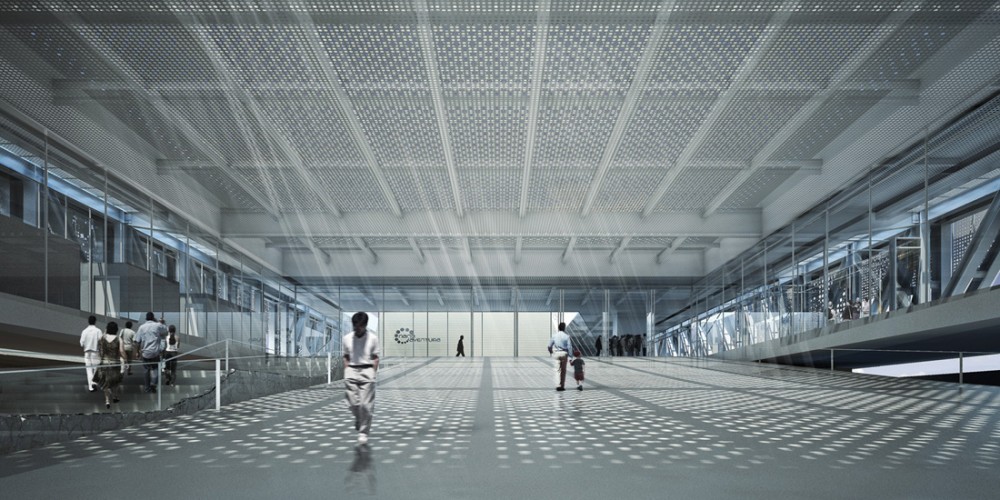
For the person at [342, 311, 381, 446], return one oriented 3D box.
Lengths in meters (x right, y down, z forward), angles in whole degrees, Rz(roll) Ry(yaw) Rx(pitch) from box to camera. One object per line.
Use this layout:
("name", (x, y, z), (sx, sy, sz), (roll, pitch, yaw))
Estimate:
("person", (-3.009, 2.709, 12.500), (0.721, 2.760, 1.173), (2, -13, -14))
